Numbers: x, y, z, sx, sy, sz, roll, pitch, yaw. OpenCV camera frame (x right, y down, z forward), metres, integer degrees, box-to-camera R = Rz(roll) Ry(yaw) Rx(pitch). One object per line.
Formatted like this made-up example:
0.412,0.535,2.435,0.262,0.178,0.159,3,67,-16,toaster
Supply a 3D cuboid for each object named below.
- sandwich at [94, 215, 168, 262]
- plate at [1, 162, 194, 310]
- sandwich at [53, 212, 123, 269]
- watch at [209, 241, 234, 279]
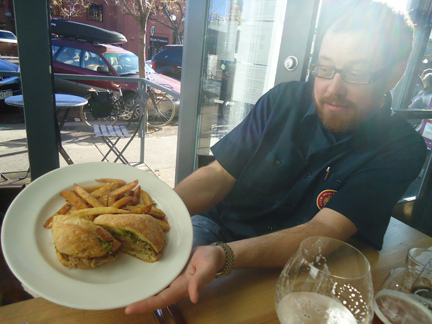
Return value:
-0.349,0.284,1.353,0.328,0.123,0.181,9,22,22,sandwich
-0.449,0.244,1.294,0.715,0.228,0.642,8,24,0,plate
-0.494,0.311,1.214,0.217,0.072,0.175,17,36,-3,sandwich
0.036,0.410,1.350,0.119,0.095,0.046,60,28,12,watch
